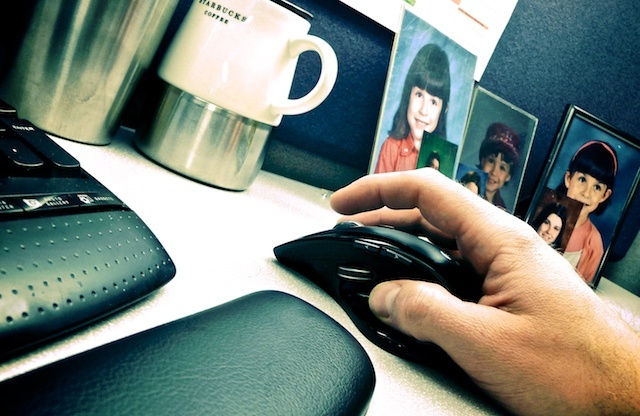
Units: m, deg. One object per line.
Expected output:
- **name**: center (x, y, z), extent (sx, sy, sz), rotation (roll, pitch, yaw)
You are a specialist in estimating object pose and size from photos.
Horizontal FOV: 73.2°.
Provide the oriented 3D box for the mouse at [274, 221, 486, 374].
- **mouse**: center (0.058, 0.075, 0.508), extent (0.220, 0.082, 0.112), rotation (23, 30, 23)
